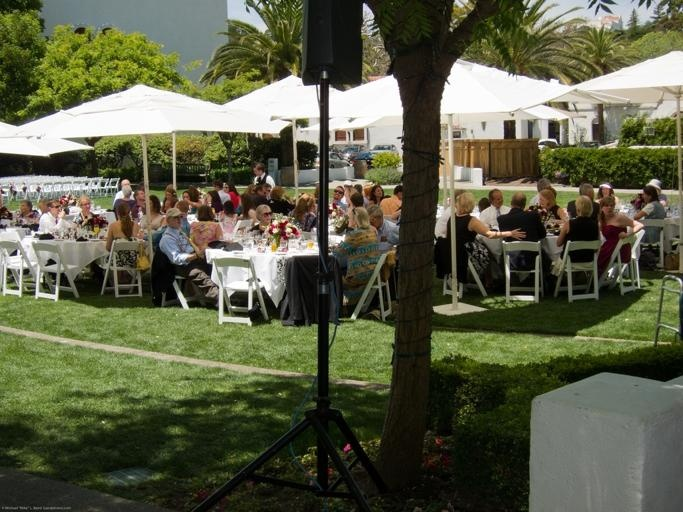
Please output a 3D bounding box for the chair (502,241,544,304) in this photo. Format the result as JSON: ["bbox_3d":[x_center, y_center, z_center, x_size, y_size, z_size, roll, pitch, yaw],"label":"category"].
[{"bbox_3d":[2.886,0.049,11.300,0.580,1.064,0.930,1,29,17],"label":"chair"}]

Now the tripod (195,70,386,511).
[{"bbox_3d":[-0.254,0.269,4.816,0.991,2.871,1.514,-2,1,2],"label":"tripod"}]

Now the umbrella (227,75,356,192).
[{"bbox_3d":[-0.413,-2.058,12.618,1.826,1.485,1.941,-28,9,-40],"label":"umbrella"}]

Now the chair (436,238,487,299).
[{"bbox_3d":[2.032,0.350,11.568,0.738,1.118,0.570,-10,16,-23],"label":"chair"}]

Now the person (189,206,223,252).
[{"bbox_3d":[-2.196,-0.468,11.464,0.515,0.842,0.510,7,20,11],"label":"person"}]

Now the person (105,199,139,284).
[{"bbox_3d":[-3.697,-0.249,11.911,0.529,1.025,0.779,-3,1,-21],"label":"person"}]

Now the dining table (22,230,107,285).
[{"bbox_3d":[-4.615,-0.034,11.985,0.882,0.515,0.935,2,6,24],"label":"dining table"}]

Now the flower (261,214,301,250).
[{"bbox_3d":[-0.893,-0.385,10.601,0.439,0.500,0.474,6,13,25],"label":"flower"}]

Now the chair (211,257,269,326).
[{"bbox_3d":[-1.450,0.457,10.178,0.668,0.974,0.766,0,4,4],"label":"chair"}]

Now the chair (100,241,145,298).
[{"bbox_3d":[-3.657,0.011,11.750,0.691,1.311,0.907,0,4,-24],"label":"chair"}]

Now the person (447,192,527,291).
[{"bbox_3d":[2.282,-0.164,11.447,0.987,1.647,1.283,3,11,4],"label":"person"}]

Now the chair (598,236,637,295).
[{"bbox_3d":[4.545,0.074,11.438,0.486,0.676,0.460,1,12,28],"label":"chair"}]

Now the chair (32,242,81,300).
[{"bbox_3d":[-4.788,0.232,11.830,0.641,0.931,0.739,2,6,-8],"label":"chair"}]

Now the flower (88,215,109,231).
[{"bbox_3d":[-4.421,-0.588,12.790,0.307,0.147,0.414,-3,4,-6],"label":"flower"}]

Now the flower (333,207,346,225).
[{"bbox_3d":[-0.055,-0.752,13.757,0.288,0.359,0.299,-1,6,-9],"label":"flower"}]

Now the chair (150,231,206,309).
[{"bbox_3d":[-2.658,0.239,11.122,0.579,1.005,0.681,10,11,10],"label":"chair"}]

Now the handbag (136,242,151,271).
[{"bbox_3d":[-3.312,0.004,11.753,0.213,0.377,0.552,-2,1,-17],"label":"handbag"}]
